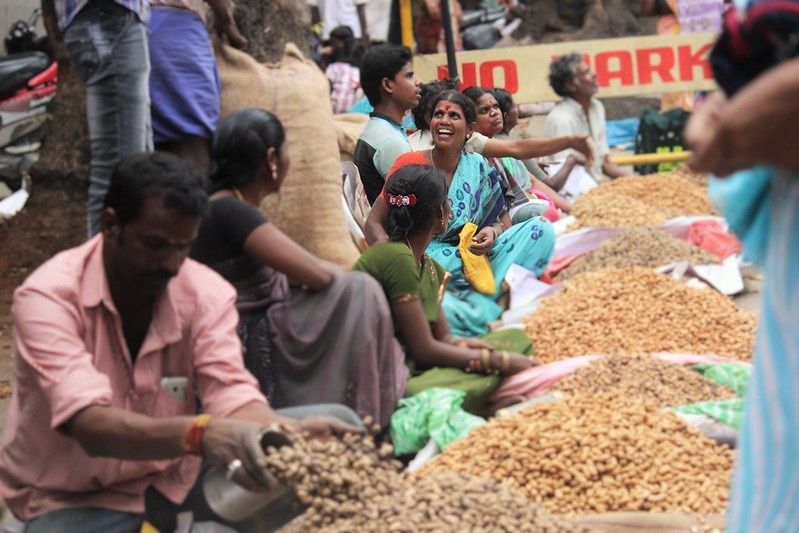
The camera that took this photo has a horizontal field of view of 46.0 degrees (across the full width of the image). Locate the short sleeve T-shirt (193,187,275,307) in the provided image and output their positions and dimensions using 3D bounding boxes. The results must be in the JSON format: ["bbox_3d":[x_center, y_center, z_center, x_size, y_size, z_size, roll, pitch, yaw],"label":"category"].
[{"bbox_3d":[-0.813,-0.089,4.505,0.433,0.442,0.264,10,21,20],"label":"short sleeve T-shirt"}]

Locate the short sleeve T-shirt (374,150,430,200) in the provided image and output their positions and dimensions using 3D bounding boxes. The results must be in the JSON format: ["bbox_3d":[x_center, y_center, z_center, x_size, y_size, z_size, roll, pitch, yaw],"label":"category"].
[{"bbox_3d":[0.027,-0.531,5.466,0.251,0.362,0.137,17,2,35],"label":"short sleeve T-shirt"}]

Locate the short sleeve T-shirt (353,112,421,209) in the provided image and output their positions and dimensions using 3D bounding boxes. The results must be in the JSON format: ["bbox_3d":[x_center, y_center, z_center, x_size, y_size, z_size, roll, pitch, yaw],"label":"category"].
[{"bbox_3d":[-0.095,-0.503,6.116,0.384,0.661,0.771,-2,34,-6],"label":"short sleeve T-shirt"}]
